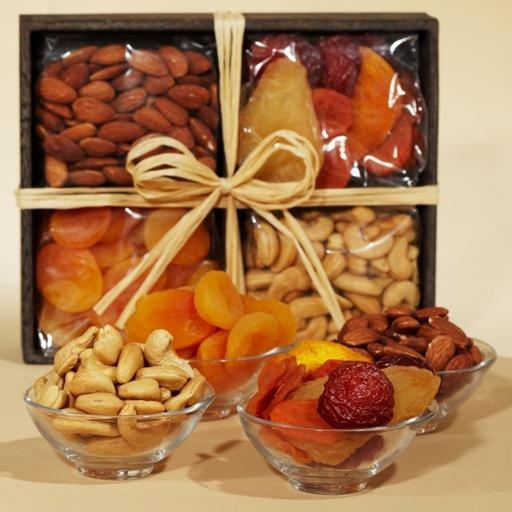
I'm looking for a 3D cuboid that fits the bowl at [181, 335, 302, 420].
[{"bbox_3d":[-0.022,0.137,0.730,0.109,0.076,0.142,-3,5,-34],"label":"bowl"}]

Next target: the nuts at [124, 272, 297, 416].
[{"bbox_3d":[-0.080,0.090,0.776,0.263,0.148,0.163,-3,1,-31],"label":"nuts"}]

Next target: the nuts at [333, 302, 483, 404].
[{"bbox_3d":[0.162,0.101,0.659,0.127,0.040,0.114,1,-2,7],"label":"nuts"}]

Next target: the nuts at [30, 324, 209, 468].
[{"bbox_3d":[-0.124,0.123,0.610,0.178,0.089,0.151,0,-4,4],"label":"nuts"}]
